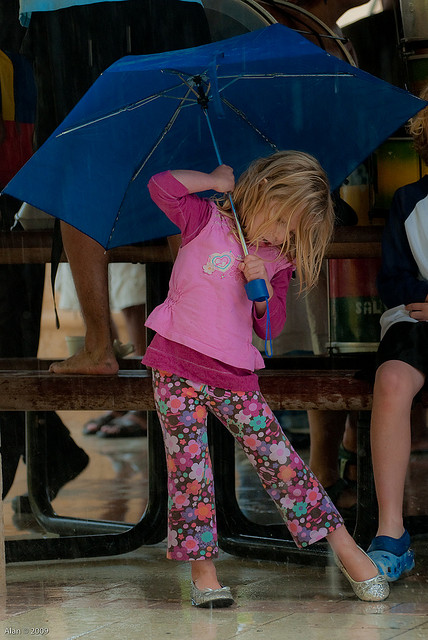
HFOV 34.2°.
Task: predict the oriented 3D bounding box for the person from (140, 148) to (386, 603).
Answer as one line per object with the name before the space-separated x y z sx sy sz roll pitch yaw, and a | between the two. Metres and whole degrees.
person | 0.091 0.095 1.492 0.474 0.977 0.201 -1 -11 -6

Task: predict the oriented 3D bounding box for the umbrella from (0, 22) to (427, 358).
umbrella | 0.014 -0.401 1.581 0.727 0.350 0.675 -8 -12 32

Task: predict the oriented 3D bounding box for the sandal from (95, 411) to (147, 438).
sandal | -0.729 0.819 5.289 0.285 0.151 0.408 4 -12 -31

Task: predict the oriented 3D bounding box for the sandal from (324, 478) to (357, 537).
sandal | 0.399 0.588 2.215 0.092 0.146 0.344 -4 -10 9
